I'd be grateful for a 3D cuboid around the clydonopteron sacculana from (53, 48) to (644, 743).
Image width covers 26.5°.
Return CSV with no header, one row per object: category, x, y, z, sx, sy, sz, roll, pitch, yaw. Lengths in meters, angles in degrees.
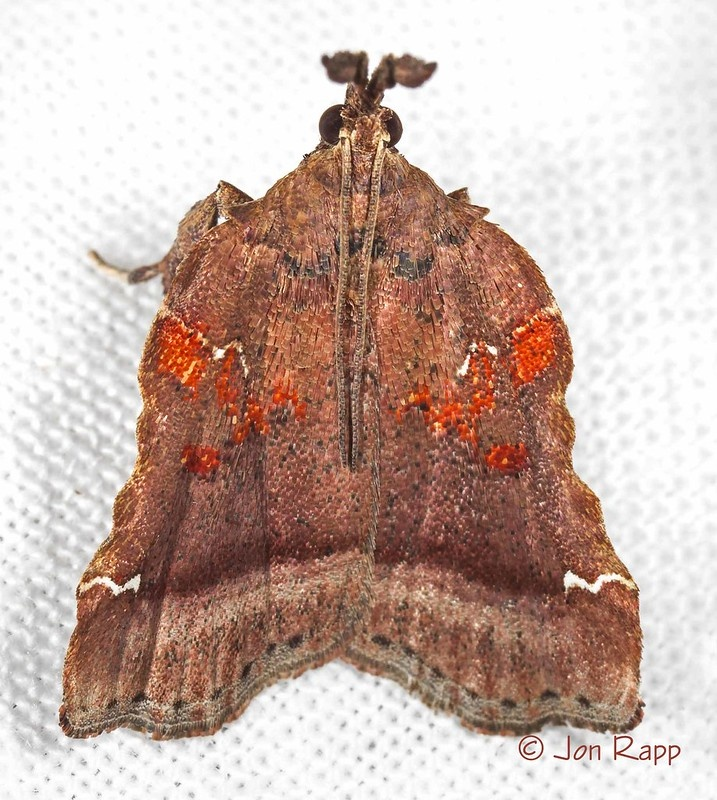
clydonopteron sacculana,-0.011,0.042,2.411,0.846,0.310,1.106,-1,96,-4
